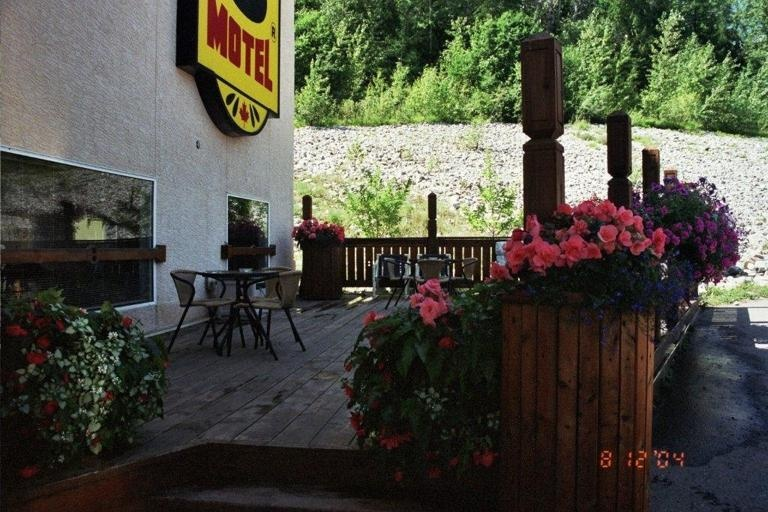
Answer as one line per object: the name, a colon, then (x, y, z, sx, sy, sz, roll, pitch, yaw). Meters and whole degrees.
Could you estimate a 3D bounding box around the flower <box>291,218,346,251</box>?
flower: (-1.129, -0.384, 10.834, 0.586, 0.463, 0.680, 1, 1, 18)

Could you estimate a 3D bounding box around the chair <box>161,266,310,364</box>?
chair: (-1.611, 0.561, 6.674, 1.000, 0.727, 1.206, 2, 1, 2)
